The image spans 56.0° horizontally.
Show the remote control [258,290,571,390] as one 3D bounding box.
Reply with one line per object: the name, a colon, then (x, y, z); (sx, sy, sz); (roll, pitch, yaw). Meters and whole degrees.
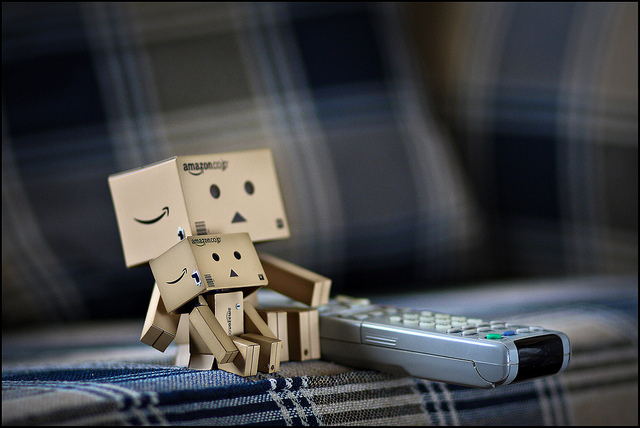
remote control: (0.135, 0.326, 1.687); (0.279, 1.043, 0.179); (-1, -85, -45)
